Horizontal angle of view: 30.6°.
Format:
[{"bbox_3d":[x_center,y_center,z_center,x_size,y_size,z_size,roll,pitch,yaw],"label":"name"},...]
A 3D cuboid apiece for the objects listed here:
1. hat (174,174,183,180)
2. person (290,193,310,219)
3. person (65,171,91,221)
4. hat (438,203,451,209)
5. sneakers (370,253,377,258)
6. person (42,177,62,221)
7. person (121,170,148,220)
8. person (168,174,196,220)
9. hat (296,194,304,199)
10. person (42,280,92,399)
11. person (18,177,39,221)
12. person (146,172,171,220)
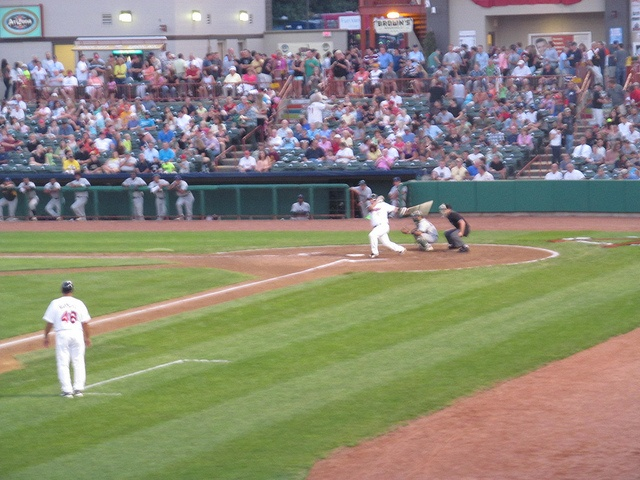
[{"bbox_3d":[-4.441,-1.937,36.519,0.184,0.086,0.223,-1,-5,25],"label":"hat"},{"bbox_3d":[-0.611,-1.006,36.131,0.414,0.736,0.533,-6,6,-40],"label":"person"},{"bbox_3d":[-7.732,-1.387,37.336,0.672,1.565,0.360,-2,5,-2],"label":"person"},{"bbox_3d":[2.985,-0.781,27.767,0.259,0.109,0.284,-1,1,26],"label":"hat"},{"bbox_3d":[1.295,0.380,28.090,0.145,0.105,0.305,1,-1,9],"label":"sneakers"},{"bbox_3d":[-8.642,-1.301,37.567,0.594,1.321,0.320,0,5,15],"label":"person"},{"bbox_3d":[-5.843,-1.367,36.961,0.728,1.488,0.403,-2,5,-7],"label":"person"},{"bbox_3d":[-4.365,-1.285,36.593,0.585,1.339,0.614,0,5,22],"label":"person"},{"bbox_3d":[-0.622,-1.317,35.915,0.165,0.097,0.119,3,4,24],"label":"hat"},{"bbox_3d":[-4.360,1.723,20.105,0.744,1.984,0.325,-3,5,-10],"label":"person"},{"bbox_3d":[-9.454,-1.308,37.739,0.591,1.333,0.465,-1,5,3],"label":"person"},{"bbox_3d":[-5.075,-1.313,36.777,0.565,1.381,0.585,-3,5,-17],"label":"person"}]
